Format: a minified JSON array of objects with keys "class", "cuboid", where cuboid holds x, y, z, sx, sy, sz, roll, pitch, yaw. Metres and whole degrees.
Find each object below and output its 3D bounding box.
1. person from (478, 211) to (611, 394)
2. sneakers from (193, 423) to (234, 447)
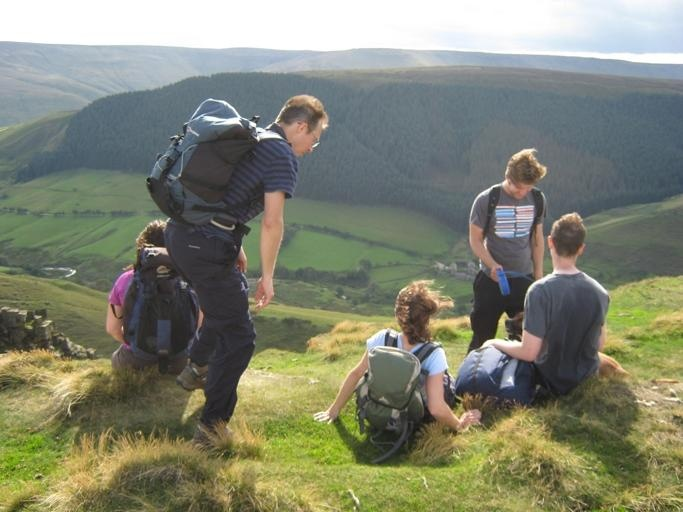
[{"class":"person","cuboid":[3.164,0.717,8.831,1.322,2.631,0.451,7,12,12]},{"class":"sneakers","cuboid":[-1.617,2.286,7.759,0.490,0.249,0.300,2,12,-13]}]
